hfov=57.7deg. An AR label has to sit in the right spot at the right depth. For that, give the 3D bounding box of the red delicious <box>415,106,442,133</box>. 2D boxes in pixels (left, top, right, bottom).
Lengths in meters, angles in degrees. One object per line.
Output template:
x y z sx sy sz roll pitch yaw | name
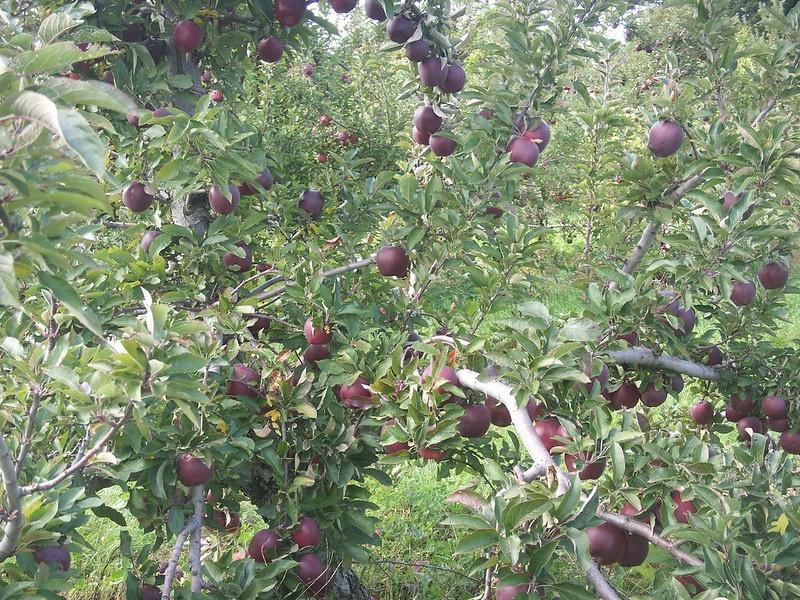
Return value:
0.117 -0.746 3.047 0.118 0.120 0.064 32 61 23 | red delicious

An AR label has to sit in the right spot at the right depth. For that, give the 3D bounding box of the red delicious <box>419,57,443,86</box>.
0.135 -0.921 2.989 0.095 0.141 0.079 -17 54 -10 | red delicious

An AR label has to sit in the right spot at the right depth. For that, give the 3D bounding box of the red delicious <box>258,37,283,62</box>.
-0.579 -1.121 3.231 0.082 0.088 0.102 -16 27 10 | red delicious

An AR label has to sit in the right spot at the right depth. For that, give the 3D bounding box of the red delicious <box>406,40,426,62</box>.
0.072 -1.004 2.941 0.093 0.119 0.057 -2 53 1 | red delicious

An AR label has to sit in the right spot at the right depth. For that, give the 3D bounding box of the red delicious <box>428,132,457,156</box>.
0.181 -0.665 3.083 0.111 0.159 0.066 -1 53 2 | red delicious

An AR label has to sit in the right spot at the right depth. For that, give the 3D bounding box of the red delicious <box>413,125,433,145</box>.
0.100 -0.716 3.141 0.073 0.074 0.088 -9 98 2 | red delicious
